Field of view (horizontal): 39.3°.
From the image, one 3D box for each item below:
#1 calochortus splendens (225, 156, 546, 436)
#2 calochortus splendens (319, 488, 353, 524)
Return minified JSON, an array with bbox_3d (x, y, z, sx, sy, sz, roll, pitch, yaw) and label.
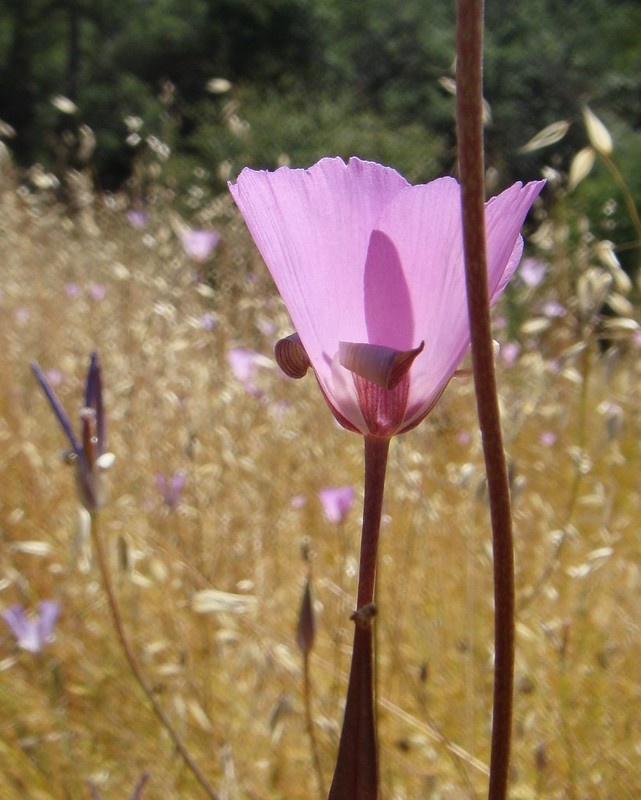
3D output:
[{"bbox_3d":[0.048,-0.074,0.641,0.180,0.179,0.179,5,6,34],"label":"calochortus splendens"},{"bbox_3d":[0.023,0.112,0.997,0.035,0.042,0.020,-3,13,-1],"label":"calochortus splendens"}]
